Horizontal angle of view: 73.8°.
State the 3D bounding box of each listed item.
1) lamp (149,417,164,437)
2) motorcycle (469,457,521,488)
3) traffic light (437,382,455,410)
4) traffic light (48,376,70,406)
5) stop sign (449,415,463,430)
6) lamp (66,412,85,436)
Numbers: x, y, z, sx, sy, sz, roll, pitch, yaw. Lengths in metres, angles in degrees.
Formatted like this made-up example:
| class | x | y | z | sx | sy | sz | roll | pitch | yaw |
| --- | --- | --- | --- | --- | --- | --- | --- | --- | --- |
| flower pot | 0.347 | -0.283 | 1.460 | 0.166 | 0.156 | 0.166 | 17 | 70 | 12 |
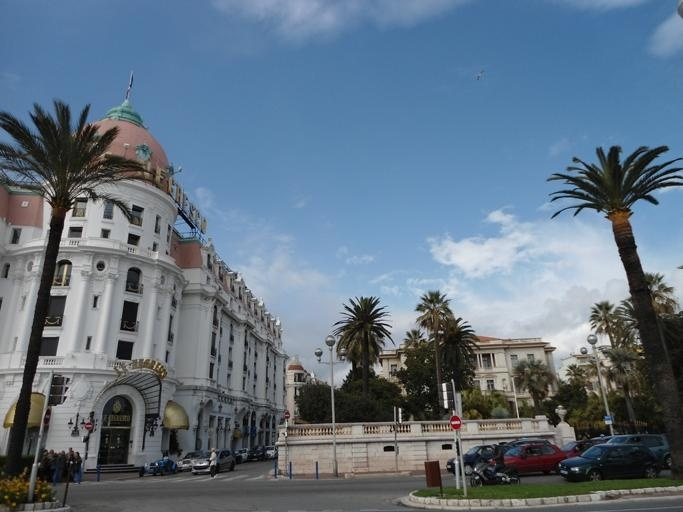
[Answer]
| class | x | y | z | sx | sy | sz | roll | pitch | yaw |
| --- | --- | --- | --- | --- | --- | --- | --- | --- | --- |
| lamp | -18.062 | 16.560 | 44.234 | 1.639 | 1.822 | 1.697 | -18 | -28 | 31 |
| motorcycle | 7.184 | 10.425 | 21.795 | 2.286 | 1.316 | 1.159 | -3 | -45 | 7 |
| traffic light | 4.554 | 5.975 | 19.499 | 0.569 | 1.118 | 0.648 | -3 | -22 | -3 |
| traffic light | -12.020 | 5.628 | 19.294 | 0.593 | 1.210 | 1.129 | 10 | -26 | -31 |
| stop sign | 4.913 | 7.138 | 19.610 | 0.398 | 0.650 | 1.416 | -8 | -22 | 9 |
| lamp | -23.387 | 14.767 | 39.929 | 1.814 | 2.107 | 0.891 | 4 | -27 | -17 |
